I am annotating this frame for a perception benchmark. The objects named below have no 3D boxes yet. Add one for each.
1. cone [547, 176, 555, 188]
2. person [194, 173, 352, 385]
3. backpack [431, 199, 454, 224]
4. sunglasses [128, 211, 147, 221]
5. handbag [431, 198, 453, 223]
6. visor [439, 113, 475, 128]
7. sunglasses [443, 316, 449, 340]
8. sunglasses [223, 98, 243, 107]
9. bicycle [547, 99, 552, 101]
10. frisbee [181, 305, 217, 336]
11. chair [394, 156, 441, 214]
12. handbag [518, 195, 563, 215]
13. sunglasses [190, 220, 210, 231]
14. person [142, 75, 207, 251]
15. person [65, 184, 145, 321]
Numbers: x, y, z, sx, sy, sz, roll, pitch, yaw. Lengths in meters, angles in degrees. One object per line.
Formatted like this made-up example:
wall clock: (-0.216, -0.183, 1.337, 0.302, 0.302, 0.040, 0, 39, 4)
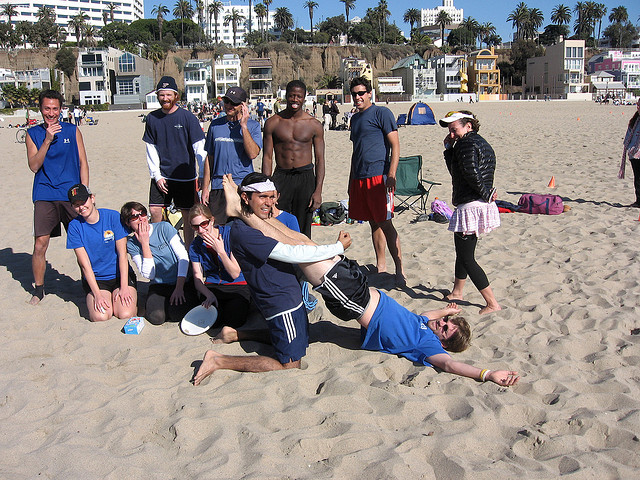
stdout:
cone: (4.272, -1.099, 11.324, 0.120, 0.196, 0.491, 3, 14, 20)
person: (-0.477, 0.268, 5.463, 1.326, 1.766, 0.721, -2, 12, -5)
backpack: (1.830, -0.431, 9.259, 0.255, 0.146, 0.368, -10, 51, -25)
sunglasses: (-1.907, -0.265, 6.376, 0.084, 0.069, 0.203, 9, 17, 38)
handbag: (1.861, -0.454, 9.422, 0.294, 0.171, 0.368, -1, 49, -52)
visor: (1.340, -1.211, 6.046, 0.248, 0.087, 0.160, -10, -14, -5)
sunglasses: (1.134, 0.802, 5.548, 0.048, 0.165, 0.126, 1, 13, 12)
sunglasses: (-0.974, -1.525, 6.690, 0.189, 0.098, 0.121, -4, 13, -9)
bicycle: (24.268, -15.104, 64.852, 0.407, 0.174, 11.753, 3, 14, 19)
frisbee: (-1.231, 0.807, 6.148, 0.349, 0.221, 0.306, 0, 13, 4)
chair: (1.477, -0.890, 10.363, 0.746, 0.958, 0.821, 2, -10, -18)
handbag: (3.404, -0.572, 9.487, 0.511, 0.220, 0.335, 3, 25, 23)
sunglasses: (-1.170, -0.144, 5.849, 0.187, 0.111, 0.072, 4, 13, 20)
person: (-1.709, -0.790, 7.197, 0.851, 2.231, 0.537, 1, 20, -3)
person: (-2.284, 0.111, 6.296, 0.616, 1.390, 0.494, -6, 13, -22)
